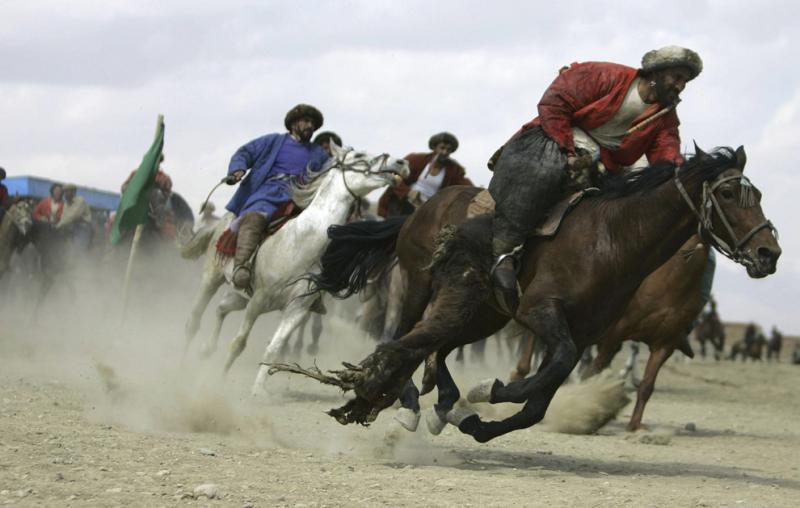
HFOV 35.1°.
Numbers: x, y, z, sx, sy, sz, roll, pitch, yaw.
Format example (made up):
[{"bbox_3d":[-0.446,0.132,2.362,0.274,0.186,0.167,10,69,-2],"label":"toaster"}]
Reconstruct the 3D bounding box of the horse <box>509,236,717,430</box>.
[{"bbox_3d":[3.053,1.087,17.238,0.955,2.694,3.809,30,-20,-37],"label":"horse"}]

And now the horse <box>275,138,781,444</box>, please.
[{"bbox_3d":[1.692,0.364,14.978,4.633,3.611,2.631,5,7,-1],"label":"horse"}]

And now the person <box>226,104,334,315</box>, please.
[{"bbox_3d":[-1.578,-0.818,17.415,1.659,2.494,1.170,9,-6,-10],"label":"person"}]

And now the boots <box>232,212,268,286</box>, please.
[{"bbox_3d":[-2.013,-0.070,16.882,0.351,1.051,0.341,18,-25,-33],"label":"boots"}]
